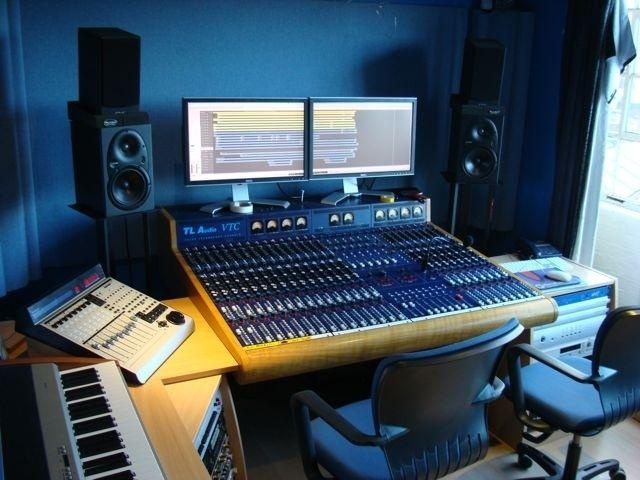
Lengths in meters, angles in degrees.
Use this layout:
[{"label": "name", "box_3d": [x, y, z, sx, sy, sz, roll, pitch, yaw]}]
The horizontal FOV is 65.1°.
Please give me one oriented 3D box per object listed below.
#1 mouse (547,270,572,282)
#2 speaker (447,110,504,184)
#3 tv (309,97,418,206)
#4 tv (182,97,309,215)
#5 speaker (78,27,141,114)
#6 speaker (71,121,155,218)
[{"label": "mouse", "box_3d": [1.320, 0.199, 2.760, 0.147, 0.046, 0.113, 2, 20, 9]}, {"label": "speaker", "box_3d": [0.980, -0.606, 3.145, 0.254, 0.438, 0.281, 2, 22, 5]}, {"label": "tv", "box_3d": [0.258, -0.560, 3.081, 0.621, 0.587, 0.207, -6, 19, -18]}, {"label": "tv", "box_3d": [-0.429, -0.499, 2.861, 0.636, 0.597, 0.189, -5, 17, -18]}, {"label": "speaker", "box_3d": [-0.950, -0.773, 2.266, 0.275, 0.355, 0.273, -12, 22, -28]}, {"label": "speaker", "box_3d": [-0.973, -0.360, 2.379, 0.280, 0.411, 0.312, -11, 20, -41]}]
